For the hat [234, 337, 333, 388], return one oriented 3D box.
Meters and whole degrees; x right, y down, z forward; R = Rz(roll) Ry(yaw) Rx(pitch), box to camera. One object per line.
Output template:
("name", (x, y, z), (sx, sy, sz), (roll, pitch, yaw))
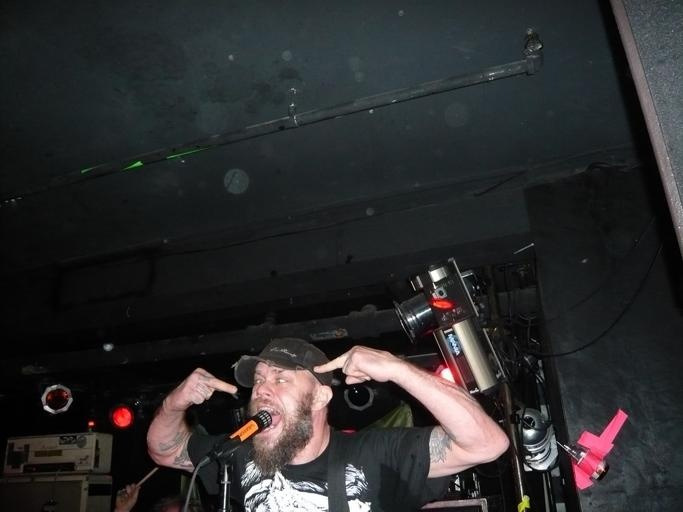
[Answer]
("hat", (-0.379, 0.713, 3.250), (0.472, 0.247, 0.343), (30, -32, -24))
